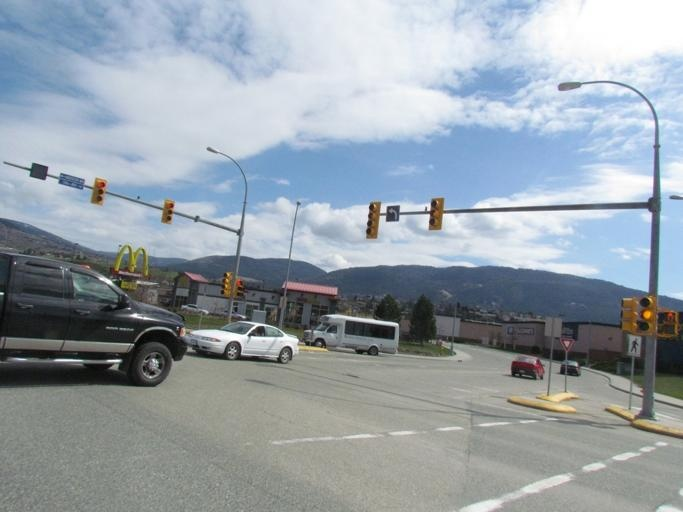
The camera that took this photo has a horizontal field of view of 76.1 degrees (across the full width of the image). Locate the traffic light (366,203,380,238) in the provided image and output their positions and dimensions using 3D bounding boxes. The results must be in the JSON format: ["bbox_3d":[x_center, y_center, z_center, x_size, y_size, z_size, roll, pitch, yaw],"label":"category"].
[{"bbox_3d":[1.382,-1.585,18.674,0.478,1.578,0.974,5,-9,1],"label":"traffic light"}]

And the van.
[{"bbox_3d":[1.198,7.100,38.670,8.513,3.067,1.113,10,-10,-25],"label":"van"}]

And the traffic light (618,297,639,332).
[{"bbox_3d":[10.753,2.212,16.244,0.562,1.385,1.133,-1,-11,34],"label":"traffic light"}]

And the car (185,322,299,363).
[{"bbox_3d":[-4.213,3.719,19.362,4.505,1.460,2.050,16,-13,-41],"label":"car"}]

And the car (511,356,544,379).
[{"bbox_3d":[14.570,8.749,33.912,1.546,1.190,2.582,-1,-1,30],"label":"car"}]

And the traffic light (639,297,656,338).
[{"bbox_3d":[10.884,2.125,15.514,0.506,1.391,0.856,-1,-11,34],"label":"traffic light"}]
